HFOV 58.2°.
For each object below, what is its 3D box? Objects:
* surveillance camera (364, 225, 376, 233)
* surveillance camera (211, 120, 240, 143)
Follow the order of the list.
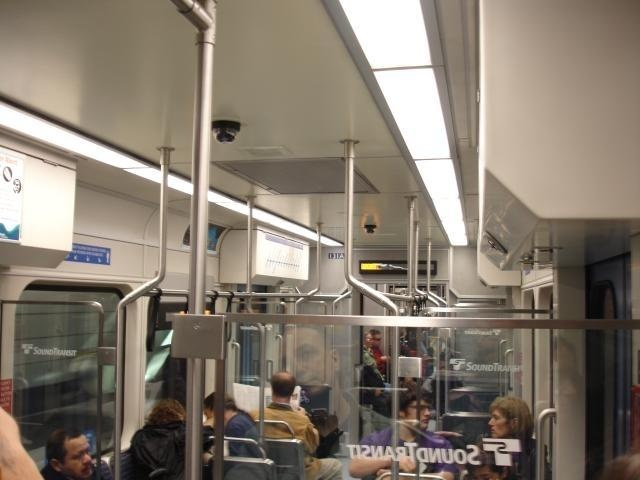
[{"bbox_3d":[0.702,-0.158,7.953,0.118,0.092,0.122,2,-12,-9],"label":"surveillance camera"},{"bbox_3d":[-0.565,-0.655,3.464,0.167,0.107,0.164,1,-5,-11],"label":"surveillance camera"}]
